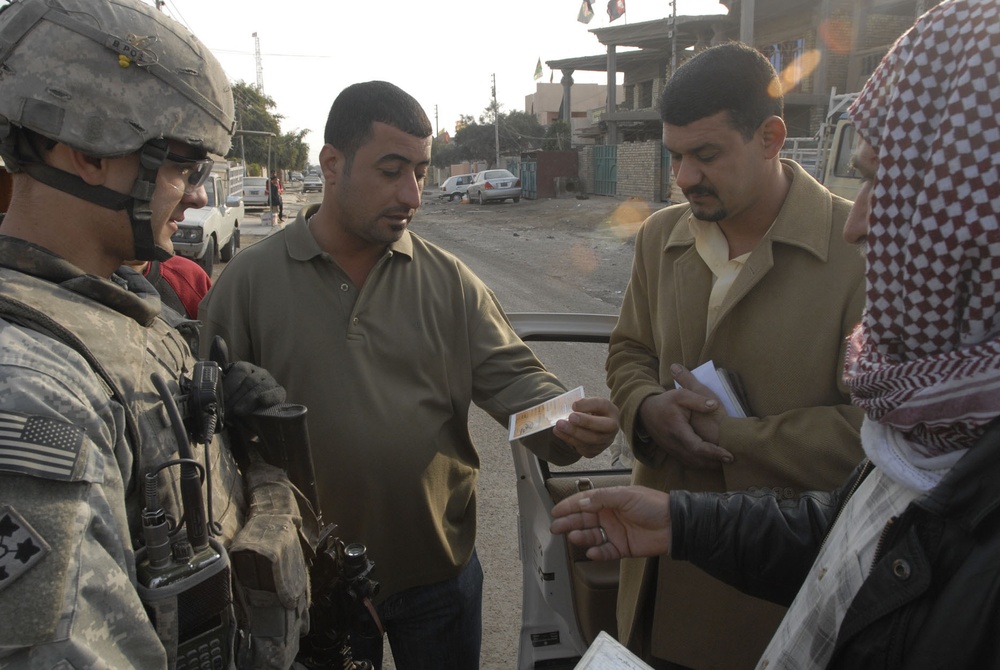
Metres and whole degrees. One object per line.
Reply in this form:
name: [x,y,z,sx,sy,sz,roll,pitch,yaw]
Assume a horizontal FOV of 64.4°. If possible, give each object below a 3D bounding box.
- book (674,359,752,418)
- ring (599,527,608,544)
book: [0.763,0.188,2.797,0.052,0.187,0.180,-29,-7,-46]
ring: [0.297,0.584,2.305,0.011,0.035,0.030,-19,1,4]
